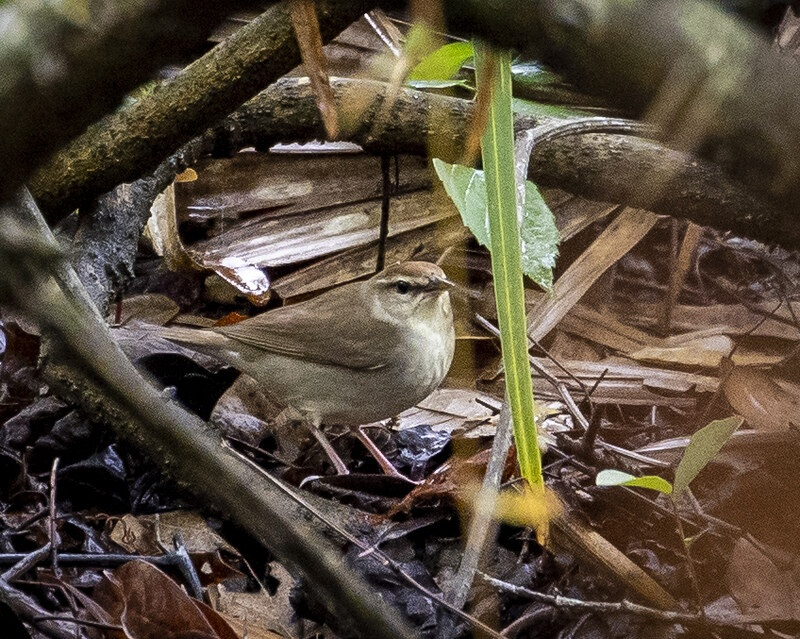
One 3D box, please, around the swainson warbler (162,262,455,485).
[{"bbox_3d":[-0.198,0.071,2.801,0.742,0.367,0.555,-22,54,-23],"label":"swainson warbler"}]
